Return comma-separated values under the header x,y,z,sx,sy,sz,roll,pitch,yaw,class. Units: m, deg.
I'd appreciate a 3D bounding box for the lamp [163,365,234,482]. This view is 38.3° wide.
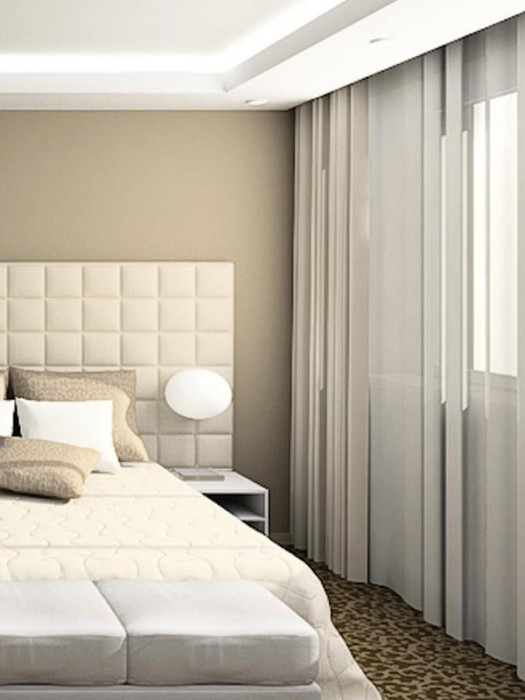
x,y,z,sx,sy,sz,roll,pitch,yaw,class
-0.317,0.303,3.906,0.266,0.157,0.423,8,-39,-2,lamp

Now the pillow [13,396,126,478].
x,y,z,sx,sy,sz,roll,pitch,yaw,class
-0.865,0.369,3.387,0.373,0.354,0.113,2,-25,-36,pillow

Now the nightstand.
x,y,z,sx,sy,sz,roll,pitch,yaw,class
-0.134,0.745,3.840,0.422,0.203,0.351,0,5,-7,nightstand
